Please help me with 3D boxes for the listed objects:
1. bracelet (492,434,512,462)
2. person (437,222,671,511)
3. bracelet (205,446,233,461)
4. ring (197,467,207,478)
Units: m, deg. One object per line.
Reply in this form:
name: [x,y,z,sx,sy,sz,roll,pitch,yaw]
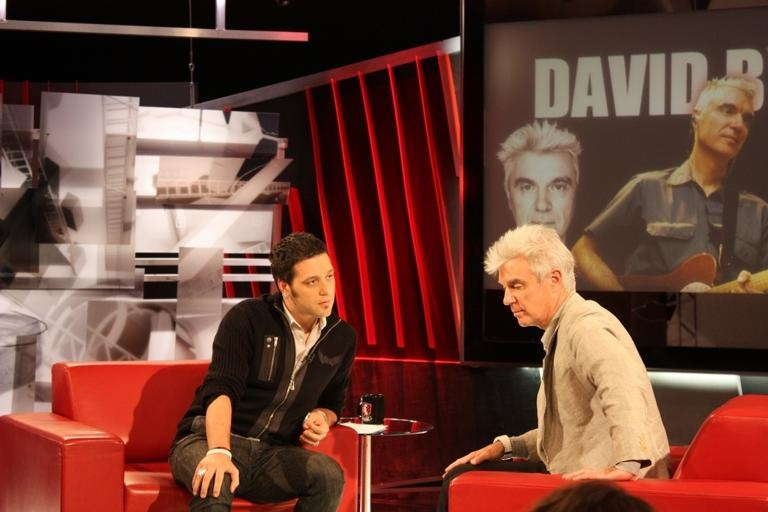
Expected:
bracelet: [0.549,0.884,3.415,0.076,0.118,0.111,2,-11,-1]
person: [0.784,0.588,3.916,1.157,2.033,1.235,-1,-11,4]
bracelet: [-0.716,0.849,3.182,0.105,0.052,0.063,1,-1,-14]
ring: [-0.772,0.911,3.112,0.035,0.025,0.034,1,-11,0]
